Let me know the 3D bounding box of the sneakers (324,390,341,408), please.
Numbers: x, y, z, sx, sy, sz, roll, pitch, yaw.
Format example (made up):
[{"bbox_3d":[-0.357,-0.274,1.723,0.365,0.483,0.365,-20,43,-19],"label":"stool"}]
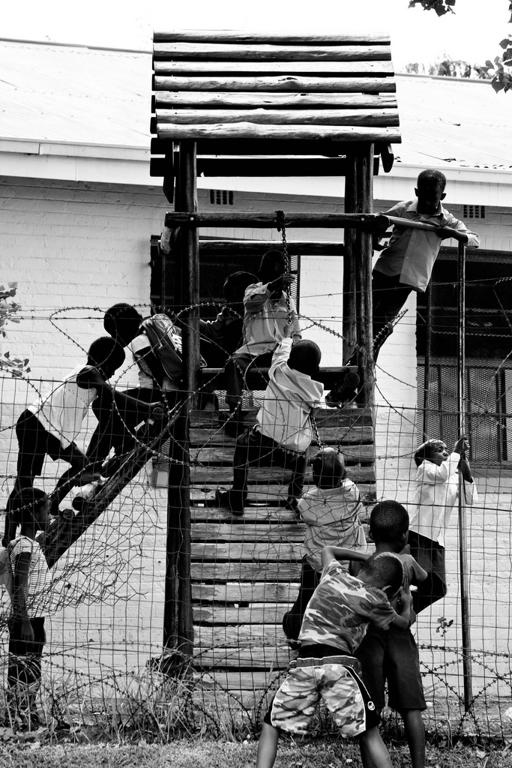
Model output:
[{"bbox_3d":[0.513,0.107,13.050,0.089,0.135,0.048,-3,9,-30],"label":"sneakers"}]

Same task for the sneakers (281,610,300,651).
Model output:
[{"bbox_3d":[0.230,1.515,11.769,0.077,0.219,0.148,5,-9,-7],"label":"sneakers"}]
